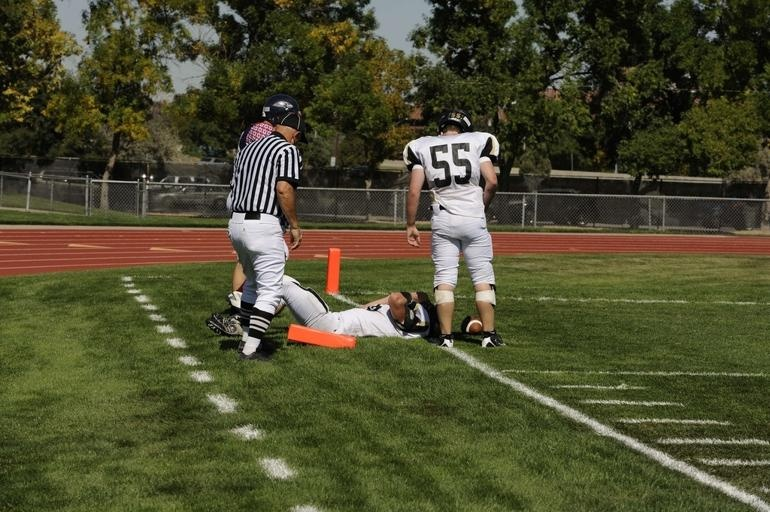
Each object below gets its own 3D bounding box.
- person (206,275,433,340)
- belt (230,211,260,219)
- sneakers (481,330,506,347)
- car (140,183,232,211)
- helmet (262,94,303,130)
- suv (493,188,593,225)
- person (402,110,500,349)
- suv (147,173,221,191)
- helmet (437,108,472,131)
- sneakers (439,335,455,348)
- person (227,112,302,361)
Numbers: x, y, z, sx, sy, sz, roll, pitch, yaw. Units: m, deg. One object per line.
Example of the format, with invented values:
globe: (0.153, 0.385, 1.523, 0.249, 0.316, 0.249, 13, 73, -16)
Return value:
person: (-0.636, 0.773, 10.570, 2.327, 0.660, 1.102, 2, -7, -8)
belt: (-1.582, -0.462, 9.628, 0.343, 0.087, 0.082, 2, 3, 31)
sneakers: (1.345, 1.013, 10.374, 0.319, 0.189, 0.266, 0, 3, -12)
car: (-7.425, -2.161, 31.627, 2.838, 1.043, 3.529, 0, 3, -6)
helmet: (-1.273, -1.768, 10.184, 0.446, 0.382, 0.333, -1, 1, -23)
suv: (6.120, -1.919, 34.196, 3.686, 0.880, 2.823, -4, -8, -2)
person: (0.873, -0.224, 10.530, 1.178, 2.634, 0.637, 1, 2, 3)
suv: (-8.330, -3.041, 34.761, 2.967, 1.147, 1.417, 2, 3, -7)
helmet: (0.901, -1.729, 10.754, 0.287, 0.335, 0.328, 1, 7, 6)
sneakers: (0.757, 1.044, 10.327, 0.105, 0.131, 0.196, 2, 8, 2)
person: (-1.407, -0.282, 9.795, 0.820, 2.815, 0.683, 0, 2, -6)
